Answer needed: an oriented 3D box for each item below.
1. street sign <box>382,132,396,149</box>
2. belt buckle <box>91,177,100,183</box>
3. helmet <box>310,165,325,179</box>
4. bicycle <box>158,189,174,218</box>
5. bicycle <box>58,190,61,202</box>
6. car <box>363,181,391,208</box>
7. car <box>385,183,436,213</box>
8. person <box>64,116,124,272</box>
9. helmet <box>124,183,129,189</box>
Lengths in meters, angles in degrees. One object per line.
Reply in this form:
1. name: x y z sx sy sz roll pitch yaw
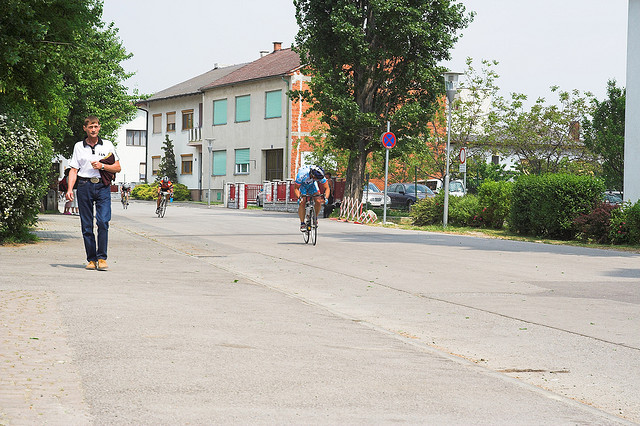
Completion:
1. street sign: 2.587 -2.818 30.387 0.431 0.617 0.812 3 1 43
2. belt buckle: -3.860 -0.568 13.472 0.105 0.098 0.027 -5 -1 -17
3. helmet: -0.031 -1.077 20.606 0.291 0.371 0.353 -11 14 -33
4. bicycle: -6.309 -0.377 31.888 0.417 1.032 1.009 3 0 -13
5. bicycle: -17.927 -1.171 54.346 0.130 0.594 1.867 3 0 -22
6. car: 2.954 -1.236 46.789 1.262 0.967 2.968 2 15 -18
7. car: 5.752 -1.037 48.330 1.943 1.388 4.299 1 -2 -36
8. person: -3.907 -0.369 13.597 0.945 2.550 0.727 0 0 1
9. helmet: -9.906 -1.382 40.336 0.227 0.303 0.160 -4 13 -15
